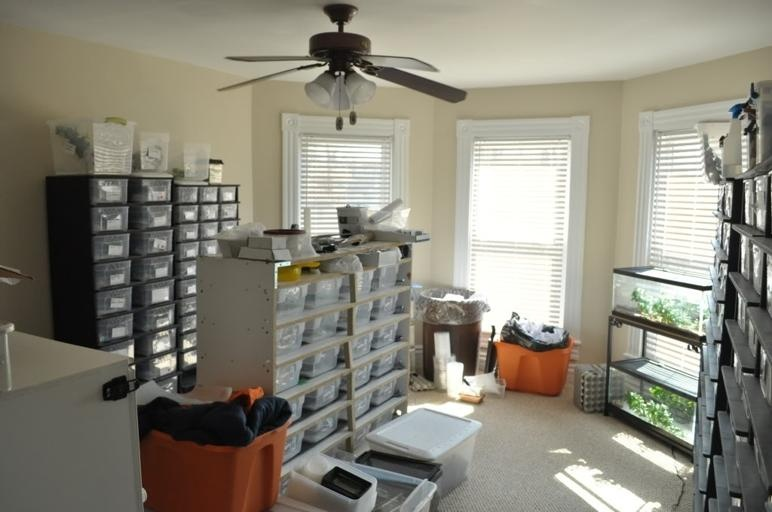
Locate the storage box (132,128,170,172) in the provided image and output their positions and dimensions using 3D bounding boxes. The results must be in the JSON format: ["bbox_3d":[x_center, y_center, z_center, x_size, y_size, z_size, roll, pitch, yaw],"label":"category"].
[{"bbox_3d":[-1.841,-0.828,4.349,0.240,0.299,0.313,18,18,42],"label":"storage box"}]

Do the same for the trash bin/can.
[{"bbox_3d":[0.685,0.850,5.933,0.810,0.911,0.776,-2,14,2],"label":"trash bin/can"}]

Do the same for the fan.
[{"bbox_3d":[-0.178,-1.217,3.587,1.009,0.381,0.988,-6,10,-40],"label":"fan"}]

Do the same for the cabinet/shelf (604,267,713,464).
[{"bbox_3d":[2.399,0.822,4.688,0.516,1.386,0.844,-6,11,-26],"label":"cabinet/shelf"}]

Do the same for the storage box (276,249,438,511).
[{"bbox_3d":[-0.244,0.867,3.801,0.565,1.687,1.759,3,2,27],"label":"storage box"}]

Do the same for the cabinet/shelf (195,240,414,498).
[{"bbox_3d":[-0.500,0.731,4.134,0.632,1.596,1.790,3,5,29],"label":"cabinet/shelf"}]

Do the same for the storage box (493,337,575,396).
[{"bbox_3d":[1.447,1.086,5.599,0.753,0.489,0.542,2,6,15],"label":"storage box"}]

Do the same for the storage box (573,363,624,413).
[{"bbox_3d":[1.928,1.236,5.176,0.408,0.360,0.308,-4,2,-4],"label":"storage box"}]

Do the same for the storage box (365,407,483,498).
[{"bbox_3d":[0.269,1.473,4.048,0.602,0.449,0.823,5,5,30],"label":"storage box"}]
